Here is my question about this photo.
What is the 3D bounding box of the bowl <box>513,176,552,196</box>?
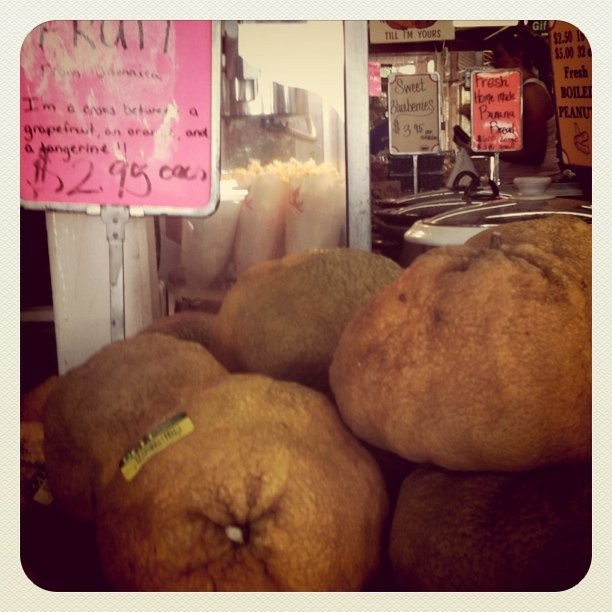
[{"bbox_3d":[0.402,-0.210,0.930,0.062,0.033,0.021,-5,13,-2],"label":"bowl"}]

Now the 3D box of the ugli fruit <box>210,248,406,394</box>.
[{"bbox_3d":[-0.005,0.005,0.922,0.268,0.198,0.210,-1,13,6],"label":"ugli fruit"}]

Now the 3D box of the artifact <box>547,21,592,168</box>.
[{"bbox_3d":[0.477,-0.376,0.940,0.075,0.256,0.051,-5,12,-7],"label":"artifact"}]
